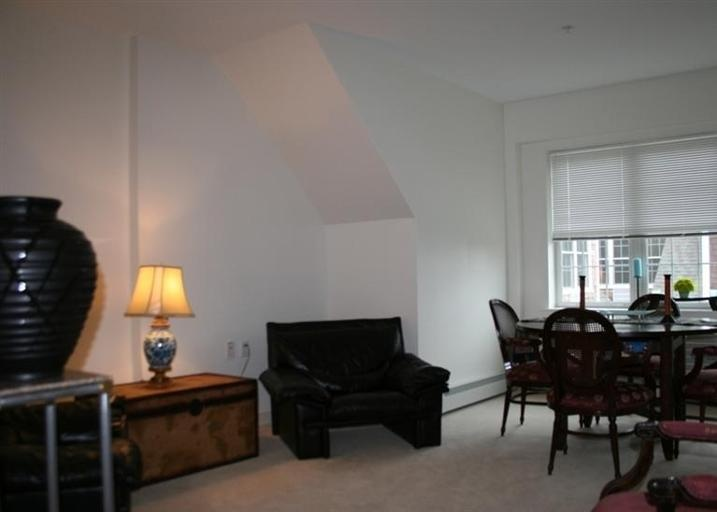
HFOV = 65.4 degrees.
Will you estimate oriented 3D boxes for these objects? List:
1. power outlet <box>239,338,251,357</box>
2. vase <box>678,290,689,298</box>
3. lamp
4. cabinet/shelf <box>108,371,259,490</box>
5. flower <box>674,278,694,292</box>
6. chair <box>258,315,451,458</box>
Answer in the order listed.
[{"bbox_3d":[-0.934,0.772,4.615,0.021,0.142,0.099,1,3,44],"label":"power outlet"},{"bbox_3d":[3.134,0.367,5.352,0.066,0.058,0.077,-4,-5,35],"label":"vase"},{"bbox_3d":[-1.366,0.465,3.858,0.421,0.807,0.514,-1,2,-18],"label":"lamp"},{"bbox_3d":[-1.061,1.085,3.610,0.600,0.534,0.927,-3,-2,43],"label":"cabinet/shelf"},{"bbox_3d":[3.125,0.274,5.334,0.137,0.084,0.135,2,-1,-31],"label":"flower"},{"bbox_3d":[-0.042,0.974,4.256,1.308,0.898,0.819,0,0,-22],"label":"chair"}]
